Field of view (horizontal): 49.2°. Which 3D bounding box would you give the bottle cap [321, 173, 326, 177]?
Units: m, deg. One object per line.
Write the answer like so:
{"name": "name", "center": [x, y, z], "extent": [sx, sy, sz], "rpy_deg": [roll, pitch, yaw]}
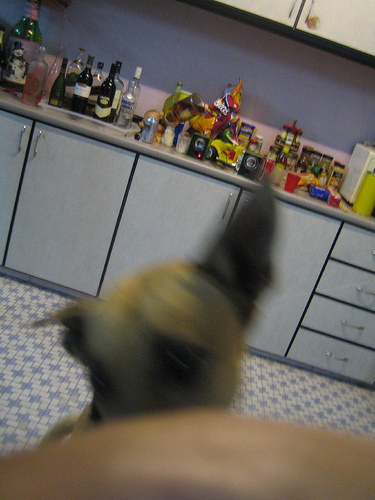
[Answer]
{"name": "bottle cap", "center": [0.876, -0.482, 2.636], "extent": [0.020, 0.019, 0.020], "rpy_deg": [5, 0, -6]}

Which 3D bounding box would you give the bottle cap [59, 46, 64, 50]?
{"name": "bottle cap", "center": [-0.720, -1.158, 2.350], "extent": [0.017, 0.016, 0.017], "rpy_deg": [-20, 53, -24]}

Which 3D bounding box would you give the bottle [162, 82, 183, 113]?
{"name": "bottle", "center": [-0.088, -0.908, 2.453], "extent": [0.055, 0.190, 0.194], "rpy_deg": [17, 14, -16]}

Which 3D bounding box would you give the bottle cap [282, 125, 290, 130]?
{"name": "bottle cap", "center": [0.636, -0.780, 2.614], "extent": [0.029, 0.020, 0.031], "rpy_deg": [-1, 12, -33]}

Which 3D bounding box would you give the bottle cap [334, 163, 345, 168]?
{"name": "bottle cap", "center": [0.997, -0.553, 2.691], "extent": [0.038, 0.010, 0.036], "rpy_deg": [25, -2, 19]}

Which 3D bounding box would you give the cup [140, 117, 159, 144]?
{"name": "cup", "center": [-0.201, -0.636, 2.171], "extent": [0.066, 0.141, 0.077], "rpy_deg": [18, 13, -10]}

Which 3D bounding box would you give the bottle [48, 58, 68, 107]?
{"name": "bottle", "center": [-0.681, -0.896, 2.197], "extent": [0.070, 0.247, 0.140], "rpy_deg": [16, 14, -22]}

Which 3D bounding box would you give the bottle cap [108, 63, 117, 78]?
{"name": "bottle cap", "center": [-0.398, -0.959, 2.191], "extent": [0.031, 0.074, 0.094], "rpy_deg": [17, 14, -18]}

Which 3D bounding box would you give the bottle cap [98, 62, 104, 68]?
{"name": "bottle cap", "center": [-0.481, -1.022, 2.267], "extent": [0.027, 0.026, 0.019], "rpy_deg": [4, 33, -3]}

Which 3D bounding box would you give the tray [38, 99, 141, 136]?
{"name": "tray", "center": [-0.516, -0.715, 2.234], "extent": [0.565, 0.093, 0.437], "rpy_deg": [16, 15, -21]}

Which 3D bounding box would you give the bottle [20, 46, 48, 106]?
{"name": "bottle", "center": [-0.790, -0.907, 2.131], "extent": [0.091, 0.299, 0.180], "rpy_deg": [17, 13, -16]}

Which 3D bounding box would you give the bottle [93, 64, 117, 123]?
{"name": "bottle", "center": [-0.433, -0.853, 2.226], "extent": [0.086, 0.292, 0.087], "rpy_deg": [20, 12, -5]}

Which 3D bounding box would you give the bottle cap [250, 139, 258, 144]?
{"name": "bottle cap", "center": [0.391, -0.641, 2.418], "extent": [0.027, 0.026, 0.028], "rpy_deg": [5, 34, -14]}

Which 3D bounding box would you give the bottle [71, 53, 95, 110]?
{"name": "bottle", "center": [-0.565, -0.914, 2.249], "extent": [0.110, 0.279, 0.267], "rpy_deg": [16, 14, -20]}

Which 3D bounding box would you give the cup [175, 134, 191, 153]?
{"name": "cup", "center": [-0.025, -0.567, 2.191], "extent": [0.078, 0.083, 0.079], "rpy_deg": [17, 30, -10]}
